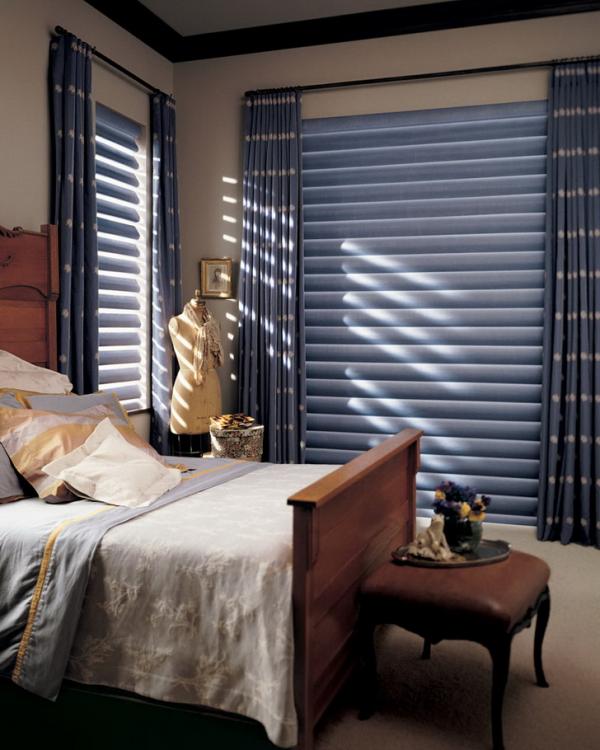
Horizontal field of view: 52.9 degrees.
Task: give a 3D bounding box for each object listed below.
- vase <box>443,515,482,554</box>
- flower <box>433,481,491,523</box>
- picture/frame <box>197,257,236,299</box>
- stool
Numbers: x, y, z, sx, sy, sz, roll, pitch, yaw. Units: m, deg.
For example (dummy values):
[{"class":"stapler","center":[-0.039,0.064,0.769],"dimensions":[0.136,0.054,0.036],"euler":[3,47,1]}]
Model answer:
[{"class":"vase","center":[0.502,0.477,1.864],"dimensions":[0.102,0.089,0.098],"euler":[2,4,27]},{"class":"flower","center":[0.495,0.391,1.893],"dimensions":[0.131,0.080,0.129],"euler":[5,8,30]},{"class":"picture/frame","center":[-0.562,-0.667,4.134],"dimensions":[0.305,0.378,0.026],"euler":[1,0,17]},{"class":"stool","center":[0.444,0.654,1.717],"dimensions":[0.448,0.409,0.448],"euler":[-1,0,29]}]
